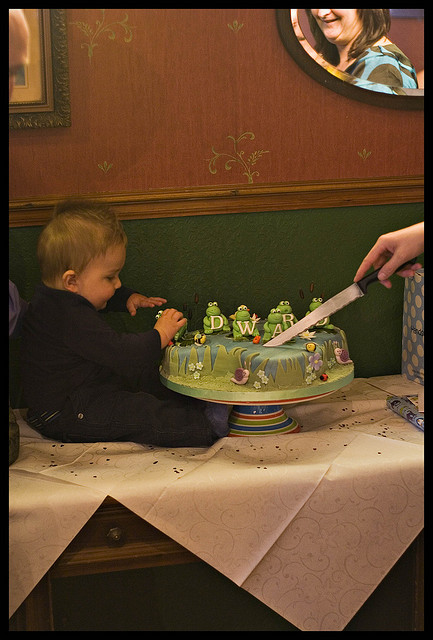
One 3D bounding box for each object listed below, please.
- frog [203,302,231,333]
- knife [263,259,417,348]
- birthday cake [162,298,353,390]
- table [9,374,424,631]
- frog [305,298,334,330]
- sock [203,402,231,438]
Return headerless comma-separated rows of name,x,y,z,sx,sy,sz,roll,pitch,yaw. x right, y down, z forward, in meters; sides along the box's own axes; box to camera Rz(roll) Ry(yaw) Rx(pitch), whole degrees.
frog,-0.001,-0.007,1.276,0.088,0.093,0.065,-1,-2,-26
knife,0.324,-0.056,1.348,0.403,0.045,0.033,-35,-26,-4
birthday cake,0.108,0.032,1.250,0.399,0.192,0.411,0,7,5
table,-0.012,0.321,1.176,0.682,0.475,0.551,2,13,-10
frog,0.246,-0.014,1.197,0.079,0.088,0.054,-4,-9,-7
sock,0.001,0.230,1.166,0.057,0.080,0.022,-14,-2,12
